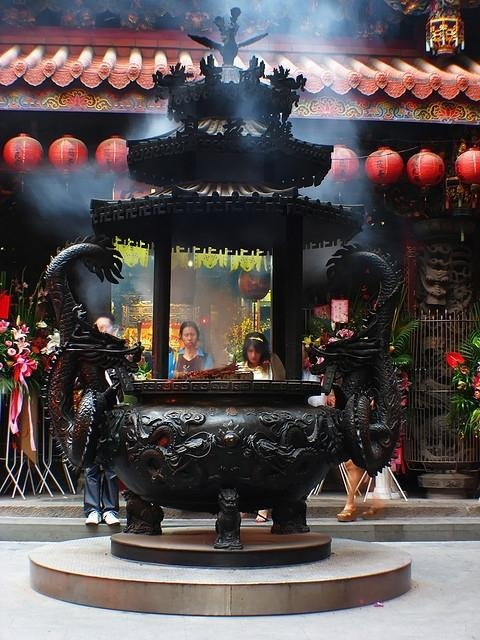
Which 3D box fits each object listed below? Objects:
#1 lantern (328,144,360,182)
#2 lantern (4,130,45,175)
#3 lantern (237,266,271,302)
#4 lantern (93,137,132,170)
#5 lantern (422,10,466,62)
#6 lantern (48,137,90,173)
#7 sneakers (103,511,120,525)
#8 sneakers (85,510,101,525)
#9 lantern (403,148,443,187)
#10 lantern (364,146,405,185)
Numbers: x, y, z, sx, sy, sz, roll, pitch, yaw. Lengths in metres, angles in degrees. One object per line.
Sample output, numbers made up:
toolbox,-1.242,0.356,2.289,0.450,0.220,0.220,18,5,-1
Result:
lantern,1.164,-1.809,9.248,0.317,0.453,0.383,0,-5,4
lantern,-2.393,-1.849,9.012,0.421,0.340,0.406,1,-3,18
lantern,0.087,-0.228,5.104,0.209,0.218,0.202,2,-2,-35
lantern,-1.340,-1.830,8.915,0.273,0.410,0.508,5,-7,-44
lantern,2.392,-3.339,9.596,0.416,0.493,0.395,0,-5,11
lantern,-1.890,-1.845,9.124,0.408,0.331,0.344,0,-7,22
sneakers,-1.060,1.632,6.711,0.118,0.093,0.300,2,-5,-15
sneakers,-1.199,1.616,6.680,0.120,0.103,0.251,1,-5,-9
lantern,2.055,-1.684,9.109,0.428,0.407,0.406,1,4,4
lantern,1.633,-1.760,9.280,0.405,0.399,0.379,-1,-5,19
